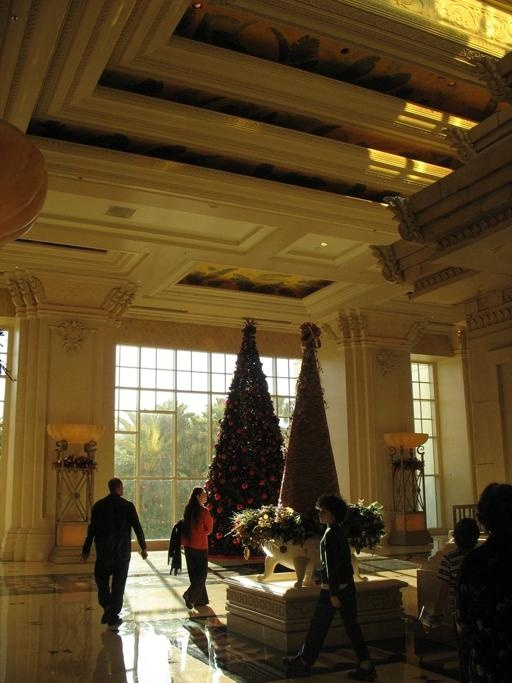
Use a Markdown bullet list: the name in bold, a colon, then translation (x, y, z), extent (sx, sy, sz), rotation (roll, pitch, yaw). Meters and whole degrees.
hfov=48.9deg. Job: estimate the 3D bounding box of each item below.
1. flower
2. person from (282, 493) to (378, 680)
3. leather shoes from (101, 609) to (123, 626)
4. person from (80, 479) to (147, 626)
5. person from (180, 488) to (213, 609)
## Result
- **flower**: translation (0.431, 1.601, 4.829), extent (1.353, 0.441, 1.353), rotation (-7, -14, 11)
- **person**: translation (0.432, 1.493, 3.466), extent (0.524, 1.063, 0.611), rotation (-2, -12, 2)
- **leather shoes**: translation (-1.162, 2.222, 4.539), extent (0.149, 0.131, 0.098), rotation (3, -13, -18)
- **person**: translation (-1.198, 1.780, 4.782), extent (0.508, 1.189, 0.389), rotation (2, -13, -16)
- **person**: translation (-0.575, 1.993, 5.434), extent (0.280, 1.122, 0.262), rotation (0, -13, -7)
